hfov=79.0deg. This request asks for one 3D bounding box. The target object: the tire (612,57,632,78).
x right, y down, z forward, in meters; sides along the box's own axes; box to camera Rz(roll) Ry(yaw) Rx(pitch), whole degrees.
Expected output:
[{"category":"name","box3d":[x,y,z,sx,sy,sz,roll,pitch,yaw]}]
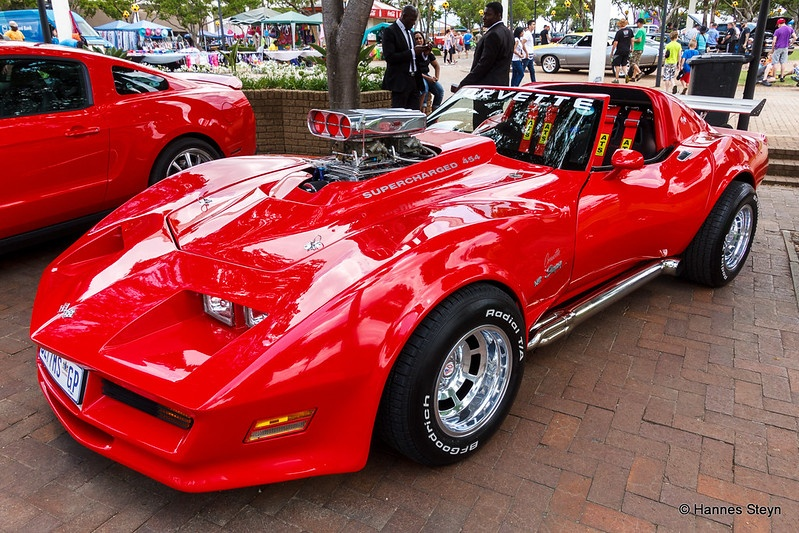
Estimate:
[{"category":"tire","box3d":[8.296,-7.721,18.452,0.343,0.726,0.885,2,50,13]}]

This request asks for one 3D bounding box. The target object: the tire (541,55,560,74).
[{"category":"tire","box3d":[6.833,-9.341,22.224,0.316,0.741,0.765,-8,10,-39]}]

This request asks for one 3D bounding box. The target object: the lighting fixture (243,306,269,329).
[{"category":"lighting fixture","box3d":[-0.793,0.278,2.647,0.141,0.120,0.054,12,30,26]}]

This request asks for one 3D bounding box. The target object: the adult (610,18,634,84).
[{"category":"adult","box3d":[8.330,-8.188,18.427,0.639,2.200,1.581,9,28,20]}]

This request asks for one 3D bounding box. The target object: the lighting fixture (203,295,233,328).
[{"category":"lighting fixture","box3d":[-1.010,0.241,2.740,0.265,0.150,0.047,18,32,34]}]

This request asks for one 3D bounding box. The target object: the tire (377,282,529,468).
[{"category":"tire","box3d":[0.330,0.663,3.032,0.376,1.114,1.198,14,20,43]}]

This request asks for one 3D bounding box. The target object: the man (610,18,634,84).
[{"category":"man","box3d":[8.327,-8.182,18.415,0.635,2.200,1.556,9,28,20]}]

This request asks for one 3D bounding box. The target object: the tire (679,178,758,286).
[{"category":"tire","box3d":[3.208,-0.308,4.898,1.093,1.008,0.352,2,13,-38]}]
